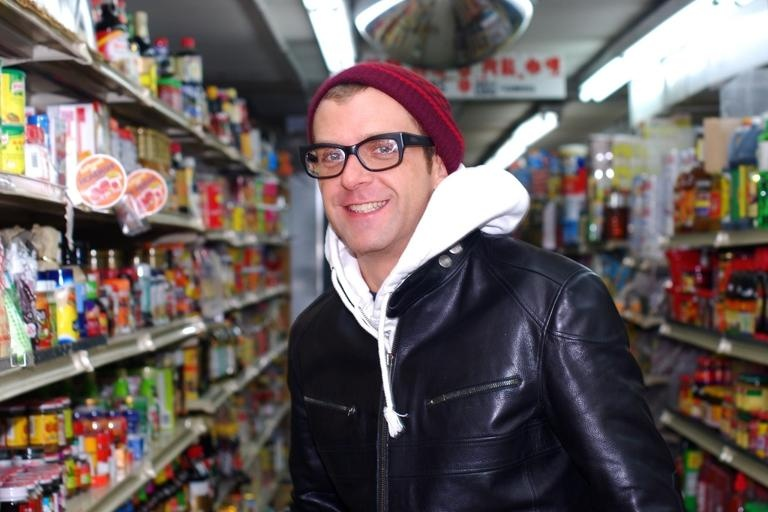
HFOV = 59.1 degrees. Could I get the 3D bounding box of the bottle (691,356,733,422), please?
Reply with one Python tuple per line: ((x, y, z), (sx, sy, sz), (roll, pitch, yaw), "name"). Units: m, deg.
((1.650, 0.675, 3.371), (0.213, 0.308, 0.089), (5, 9, 43), "bottle")
